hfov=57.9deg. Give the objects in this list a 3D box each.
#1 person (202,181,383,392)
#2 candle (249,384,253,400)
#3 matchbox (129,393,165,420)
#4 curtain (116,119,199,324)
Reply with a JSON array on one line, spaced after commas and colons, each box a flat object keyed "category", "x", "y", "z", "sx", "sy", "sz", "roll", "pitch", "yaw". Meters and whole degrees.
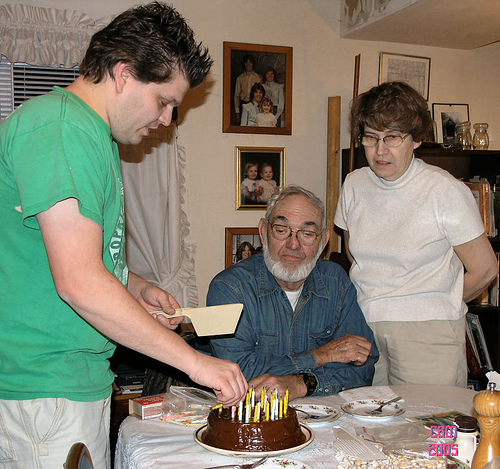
[{"category": "person", "x": 0.183, "y": 0.285, "z": 1.878, "sx": 0.659, "sy": 0.965, "sz": 0.522, "roll": 3, "pitch": -2, "yaw": 0}, {"category": "candle", "x": 0.004, "y": 0.440, "z": 1.258, "sx": 0.007, "sy": 0.040, "sz": 0.007, "roll": 13, "pitch": -3, "yaw": 0}, {"category": "matchbox", "x": -0.296, "y": 0.482, "z": 1.292, "sx": 0.064, "sy": 0.031, "sz": 0.069, "roll": -5, "pitch": 8, "yaw": -35}, {"category": "curtain", "x": -0.722, "y": -0.237, "z": 3.401, "sx": 0.538, "sy": 1.242, "sz": 0.256, "roll": 1, "pitch": -2, "yaw": -9}]
